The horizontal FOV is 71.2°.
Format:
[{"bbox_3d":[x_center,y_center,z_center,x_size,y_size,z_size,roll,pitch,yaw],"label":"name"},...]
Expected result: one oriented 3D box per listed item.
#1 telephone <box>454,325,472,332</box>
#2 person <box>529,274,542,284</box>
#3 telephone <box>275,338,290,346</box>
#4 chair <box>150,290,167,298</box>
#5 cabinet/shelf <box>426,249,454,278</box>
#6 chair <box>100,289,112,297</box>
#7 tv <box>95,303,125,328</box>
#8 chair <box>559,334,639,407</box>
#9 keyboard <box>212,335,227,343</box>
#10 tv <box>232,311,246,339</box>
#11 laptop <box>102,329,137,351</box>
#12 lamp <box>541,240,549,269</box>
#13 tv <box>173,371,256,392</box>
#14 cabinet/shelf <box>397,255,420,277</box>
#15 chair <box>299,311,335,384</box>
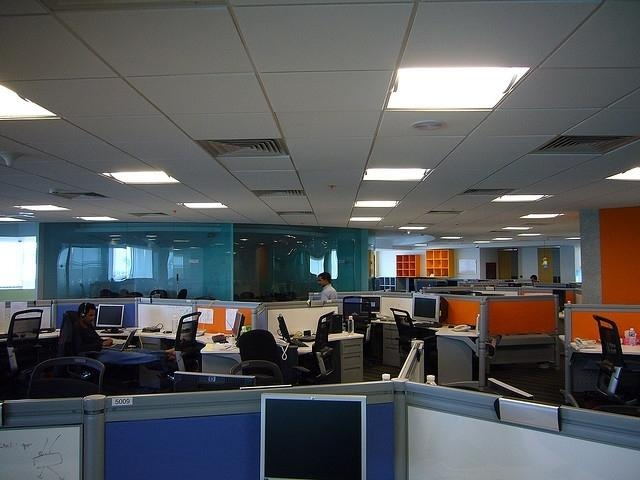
[{"bbox_3d":[2.167,1.348,6.840,0.203,0.058,0.095,2,-5,0],"label":"telephone"},{"bbox_3d":[5.973,1.096,12.519,0.170,0.205,3.868,-4,-6,24],"label":"person"},{"bbox_3d":[-0.504,1.339,5.869,0.210,0.058,0.202,5,-3,28],"label":"telephone"},{"bbox_3d":[-3.716,1.231,10.282,0.314,0.125,0.410,3,-8,-43],"label":"chair"},{"bbox_3d":[5.742,1.126,21.342,0.447,1.150,1.375,12,-13,-43],"label":"cabinet/shelf"},{"bbox_3d":[-4.812,1.224,10.195,0.221,0.167,0.208,-11,-23,23],"label":"chair"},{"bbox_3d":[-3.392,1.240,7.287,0.587,0.445,0.057,0,-8,3],"label":"tv"},{"bbox_3d":[3.579,1.661,5.616,0.934,0.744,1.010,0,0,3],"label":"chair"},{"bbox_3d":[-1.382,1.357,6.189,0.194,0.071,0.364,0,-5,-11],"label":"keyboard"},{"bbox_3d":[-1.056,1.107,5.860,0.054,0.227,0.443,5,-8,-19],"label":"tv"},{"bbox_3d":[-2.904,1.460,6.516,0.328,0.311,0.486,13,0,2],"label":"laptop"},{"bbox_3d":[8.626,0.587,17.254,0.270,0.979,2.889,-4,-6,26],"label":"lamp"},{"bbox_3d":[-0.668,0.883,2.777,0.514,0.114,0.175,-1,-5,-2],"label":"tv"},{"bbox_3d":[4.553,1.331,22.894,1.293,1.003,0.388,-1,-9,14],"label":"cabinet/shelf"},{"bbox_3d":[-0.009,1.395,5.782,0.491,0.886,0.590,0,-6,-14],"label":"chair"}]
